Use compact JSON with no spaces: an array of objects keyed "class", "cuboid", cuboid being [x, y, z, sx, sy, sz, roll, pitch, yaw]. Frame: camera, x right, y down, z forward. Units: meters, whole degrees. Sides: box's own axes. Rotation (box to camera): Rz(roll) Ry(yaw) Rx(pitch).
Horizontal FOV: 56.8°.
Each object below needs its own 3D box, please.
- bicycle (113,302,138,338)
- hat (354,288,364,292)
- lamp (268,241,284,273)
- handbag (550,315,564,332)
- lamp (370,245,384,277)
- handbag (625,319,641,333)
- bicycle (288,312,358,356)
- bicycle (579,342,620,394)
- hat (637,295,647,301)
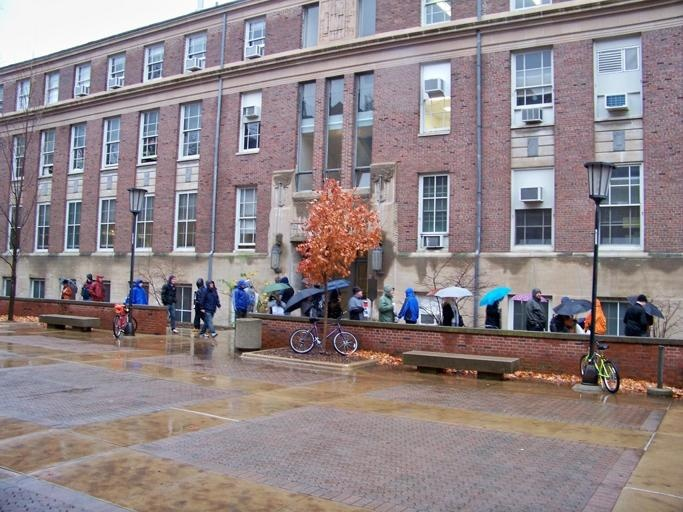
[{"class":"bicycle","cuboid":[-7.779,2.311,22.479,0.683,0.767,1.335,0,4,5]},{"class":"hat","cuboid":[0.540,1.146,20.924,0.293,0.121,0.214,0,3,-30]},{"class":"lamp","cuboid":[-2.766,0.068,26.874,0.493,1.284,0.248,0,-4,0]},{"class":"handbag","cuboid":[6.059,1.887,17.794,0.395,0.442,0.563,-3,-5,30]},{"class":"lamp","cuboid":[1.348,0.161,24.435,0.448,1.090,0.644,-1,-4,13]},{"class":"handbag","cuboid":[7.584,1.871,16.495,0.148,0.368,0.422,2,-5,-26]},{"class":"bicycle","cuboid":[-0.550,2.503,19.182,1.993,1.103,0.973,-1,-22,5]},{"class":"bicycle","cuboid":[6.154,2.633,15.070,0.766,1.115,1.507,-2,-5,18]},{"class":"hat","cuboid":[7.987,1.131,16.792,0.205,0.195,0.239,6,-9,-14]}]
